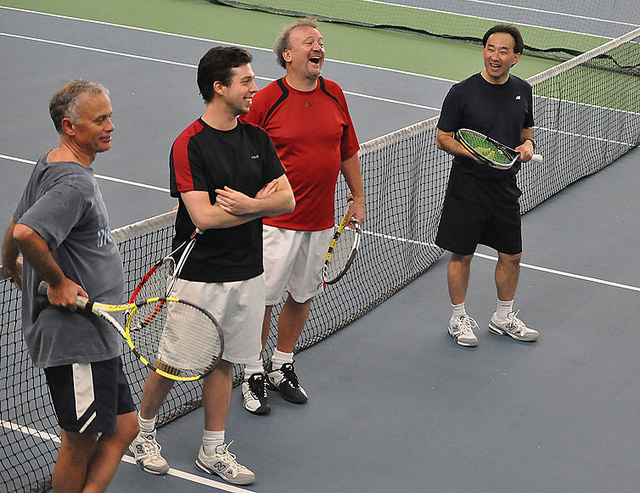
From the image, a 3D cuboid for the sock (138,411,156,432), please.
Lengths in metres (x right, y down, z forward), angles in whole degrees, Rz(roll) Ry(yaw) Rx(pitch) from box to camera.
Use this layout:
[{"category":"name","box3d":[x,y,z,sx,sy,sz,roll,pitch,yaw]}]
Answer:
[{"category":"sock","box3d":[-1.128,1.156,4.232,0.128,0.135,0.130,2,-1,19]}]

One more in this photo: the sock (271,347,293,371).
[{"category":"sock","box3d":[-0.307,0.886,5.030,0.150,0.176,0.128,0,-1,-5]}]

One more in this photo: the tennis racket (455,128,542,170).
[{"category":"tennis racket","box3d":[1.573,-0.759,5.324,0.327,0.091,0.554,24,-2,-42]}]

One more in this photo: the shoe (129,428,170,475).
[{"category":"shoe","box3d":[-1.143,1.332,4.247,0.149,0.197,0.395,11,7,-46]}]

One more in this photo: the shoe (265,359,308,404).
[{"category":"shoe","box3d":[-0.268,1.025,5.031,0.424,0.324,0.156,21,10,38]}]

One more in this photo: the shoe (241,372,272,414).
[{"category":"shoe","box3d":[-0.475,1.109,4.850,0.218,0.194,0.259,-2,31,-11]}]

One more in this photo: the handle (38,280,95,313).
[{"category":"handle","box3d":[-1.317,0.259,3.296,0.226,0.057,0.057,30,20,-10]}]

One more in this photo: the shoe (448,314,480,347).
[{"category":"shoe","box3d":[1.271,0.739,5.716,0.176,0.224,0.492,0,8,-13]}]
